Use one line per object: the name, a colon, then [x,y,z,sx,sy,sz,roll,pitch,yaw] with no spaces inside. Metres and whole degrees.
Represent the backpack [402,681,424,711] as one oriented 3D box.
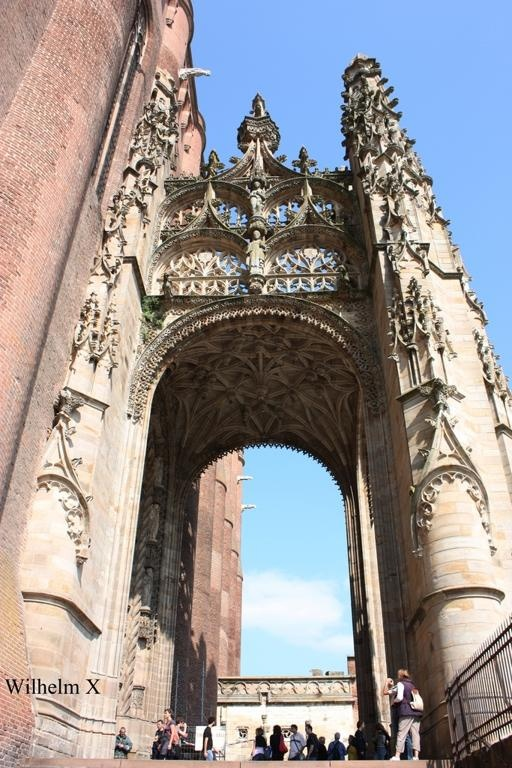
backpack: [1.678,3.269,6.002,0.119,0.244,0.359,-17,-33,28]
